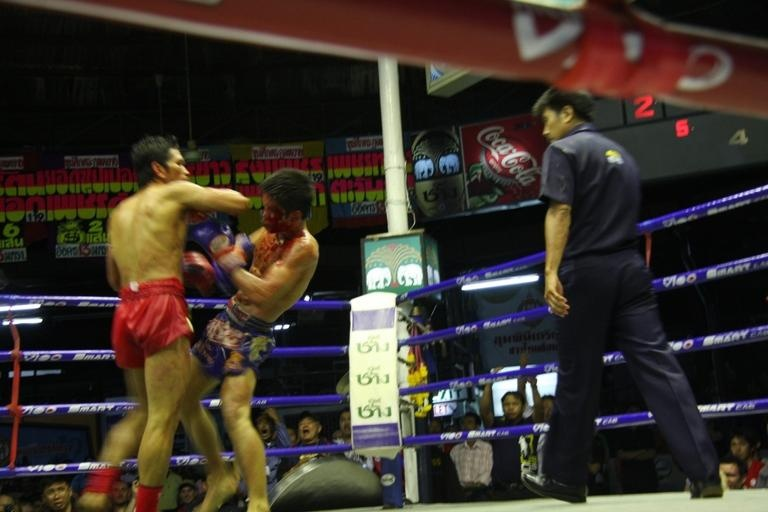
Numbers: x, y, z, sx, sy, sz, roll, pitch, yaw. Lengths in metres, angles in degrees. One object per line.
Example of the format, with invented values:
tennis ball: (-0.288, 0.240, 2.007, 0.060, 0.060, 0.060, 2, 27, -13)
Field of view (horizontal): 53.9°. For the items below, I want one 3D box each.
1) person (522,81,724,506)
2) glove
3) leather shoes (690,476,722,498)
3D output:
person: (1.330, 0.344, 4.532, 0.945, 2.187, 0.465, 0, -12, -6)
glove: (-1.005, -0.030, 4.726, 0.404, 0.516, 0.242, 0, 9, 38)
leather shoes: (1.807, 1.286, 4.238, 0.165, 0.118, 0.191, -6, -12, 19)
